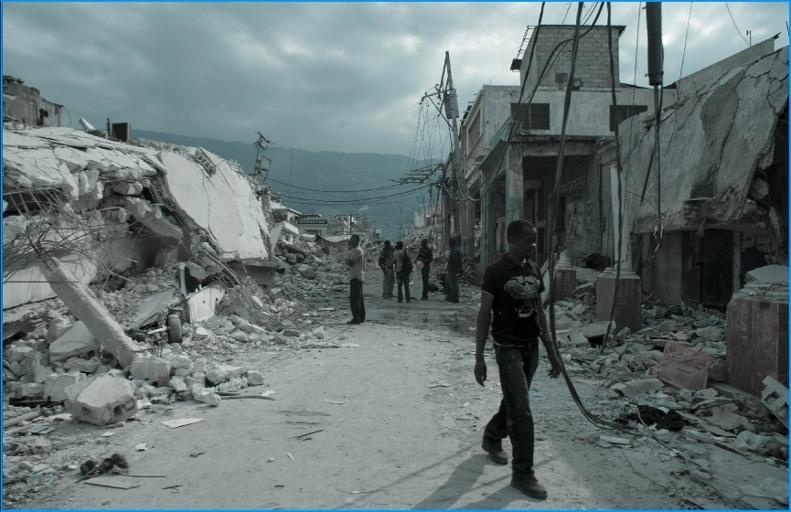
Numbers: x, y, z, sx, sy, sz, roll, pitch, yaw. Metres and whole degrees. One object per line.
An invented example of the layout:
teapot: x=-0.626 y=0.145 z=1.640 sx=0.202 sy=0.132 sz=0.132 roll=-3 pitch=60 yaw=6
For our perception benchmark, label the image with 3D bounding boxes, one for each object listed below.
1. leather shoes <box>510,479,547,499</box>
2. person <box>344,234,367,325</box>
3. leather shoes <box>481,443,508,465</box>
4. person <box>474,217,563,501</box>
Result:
leather shoes: x=1.572 y=2.734 z=7.712 sx=0.393 sy=0.174 sz=0.165 roll=5 pitch=18 yaw=20
person: x=-0.877 y=0.512 z=14.321 sx=0.389 sy=1.985 sz=0.928 roll=-3 pitch=5 yaw=-4
leather shoes: x=1.258 y=2.484 z=8.254 sx=0.156 sy=0.150 sz=0.396 roll=2 pitch=0 yaw=-22
person: x=1.469 y=1.186 z=8.053 sx=0.863 sy=3.240 sz=0.919 roll=1 pitch=6 yaw=31
